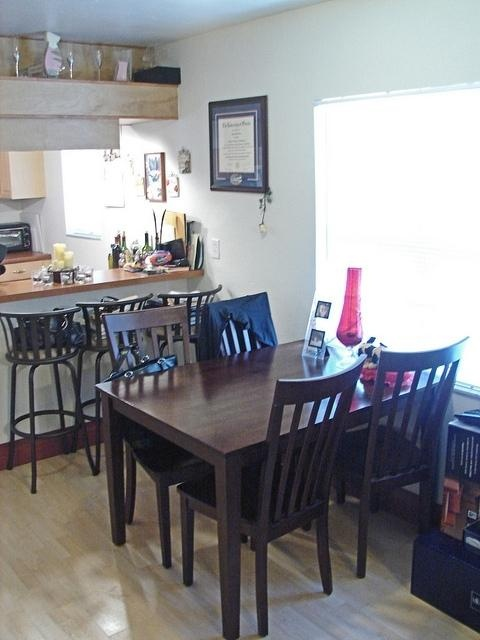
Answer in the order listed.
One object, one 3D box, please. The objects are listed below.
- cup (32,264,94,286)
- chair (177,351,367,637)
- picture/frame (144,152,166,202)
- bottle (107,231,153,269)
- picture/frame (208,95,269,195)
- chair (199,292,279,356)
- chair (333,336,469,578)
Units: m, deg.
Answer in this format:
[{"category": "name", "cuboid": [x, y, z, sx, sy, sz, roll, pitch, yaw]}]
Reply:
[{"category": "cup", "cuboid": [-1.066, -0.263, 3.075, 0.293, 0.110, 0.140, 1, 7, 7]}, {"category": "chair", "cuboid": [0.132, 0.531, 1.676, 0.575, 0.854, 0.557, -3, 7, -26]}, {"category": "picture/frame", "cuboid": [-0.599, -1.019, 3.674, 0.051, 0.457, 0.293, -6, 11, -38]}, {"category": "bottle", "cuboid": [-0.774, -0.472, 3.686, 0.288, 0.321, 0.306, 12, 21, 24]}, {"category": "picture/frame", "cuboid": [0.002, -1.006, 2.943, 0.028, 0.658, 0.512, -12, 17, -40]}, {"category": "chair", "cuboid": [0.030, 0.026, 2.434, 0.342, 0.289, 0.129, -8, -18, -13]}, {"category": "chair", "cuboid": [0.532, 0.459, 1.981, 0.375, 0.898, 0.403, -6, 17, -26]}]
